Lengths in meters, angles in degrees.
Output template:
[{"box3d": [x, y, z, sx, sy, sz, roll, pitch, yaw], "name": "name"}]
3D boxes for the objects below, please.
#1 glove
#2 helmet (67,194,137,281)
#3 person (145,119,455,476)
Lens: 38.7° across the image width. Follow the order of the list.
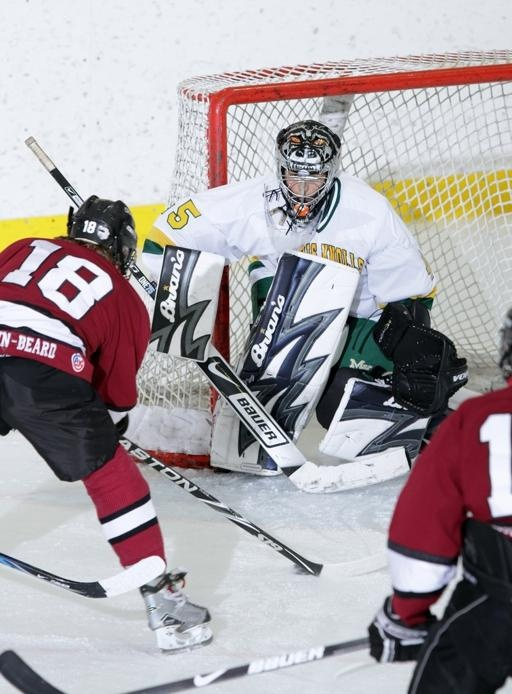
[{"box3d": [0.232, 0.459, 1.155, 0.106, 0.064, 0.082, 2, 4, -9], "name": "glove"}, {"box3d": [-0.360, -0.260, 1.723, 0.186, 0.165, 0.173, 6, 12, -43], "name": "helmet"}, {"box3d": [0.143, -0.157, 2.274, 0.867, 0.776, 1.126, -13, 54, -3], "name": "person"}]
